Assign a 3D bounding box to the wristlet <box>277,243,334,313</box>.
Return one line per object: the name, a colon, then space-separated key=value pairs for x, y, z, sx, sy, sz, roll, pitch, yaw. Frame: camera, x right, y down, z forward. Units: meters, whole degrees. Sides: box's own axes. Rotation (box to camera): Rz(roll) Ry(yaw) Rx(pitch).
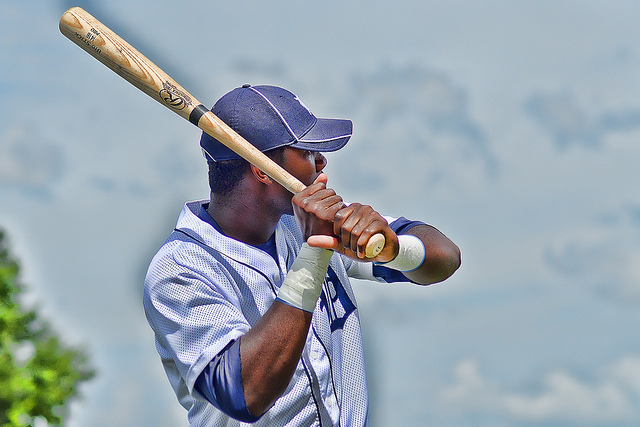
wristlet: x=-0.186 y=0.726 z=14.856 sx=0.438 sy=0.506 sz=0.915 roll=-1 pitch=-93 yaw=7
